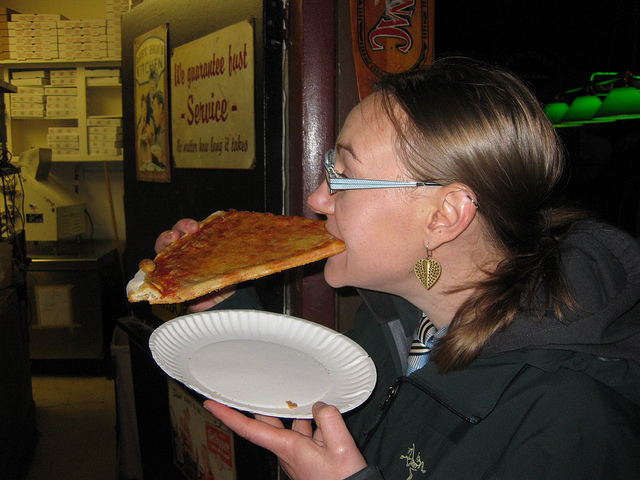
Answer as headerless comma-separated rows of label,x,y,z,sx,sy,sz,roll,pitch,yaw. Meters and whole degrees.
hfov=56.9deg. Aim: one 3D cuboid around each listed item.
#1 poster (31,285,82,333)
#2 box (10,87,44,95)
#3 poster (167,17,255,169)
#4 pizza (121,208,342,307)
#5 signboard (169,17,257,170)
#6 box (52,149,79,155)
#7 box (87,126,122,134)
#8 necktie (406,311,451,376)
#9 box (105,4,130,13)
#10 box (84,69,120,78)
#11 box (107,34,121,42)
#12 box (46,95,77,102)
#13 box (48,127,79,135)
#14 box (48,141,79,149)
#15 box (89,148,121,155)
poster,-2.542,0.633,5.644,0.437,0.476,0.038,1,10,-4
box,-3.100,-1.575,6.219,0.372,0.077,0.080,1,3,8
poster,-0.636,-0.826,3.422,0.016,0.769,0.919,-7,10,-43
pizza,-0.429,0.069,2.674,0.618,0.104,0.604,19,37,36
signboard,-0.629,-0.813,3.434,0.031,0.759,0.867,-6,7,-43
box,-2.685,-0.935,6.232,0.279,0.055,0.044,1,3,7
box,-2.284,-1.162,6.220,0.318,0.082,0.067,1,3,2
necktie,0.456,0.436,2.456,0.095,0.275,0.244,24,-11,-13
box,-2.022,-2.319,5.912,0.233,0.083,0.042,1,3,2
box,-2.280,-1.748,6.178,0.358,0.087,0.036,1,3,1
box,-2.085,-2.050,5.982,0.174,0.094,0.037,0,3,6
box,-2.719,-1.498,6.230,0.312,0.076,0.036,1,3,4
box,-2.704,-1.155,6.243,0.363,0.072,0.036,1,3,13
box,-2.706,-1.007,6.234,0.334,0.081,0.055,1,3,11
box,-2.274,-0.940,6.238,0.315,0.069,0.067,0,3,-6
